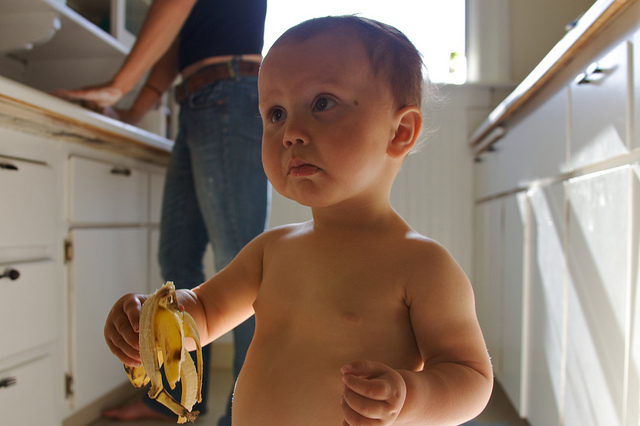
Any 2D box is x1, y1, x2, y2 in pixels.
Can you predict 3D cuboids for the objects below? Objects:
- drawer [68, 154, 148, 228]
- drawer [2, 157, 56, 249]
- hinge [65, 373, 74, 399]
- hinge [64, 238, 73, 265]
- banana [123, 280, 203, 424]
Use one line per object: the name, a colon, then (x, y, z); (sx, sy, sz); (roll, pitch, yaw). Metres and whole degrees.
drawer: (-0.837, -0.065, 2.210); (0.076, 0.276, 0.444); (1, -5, 13)
drawer: (-0.988, -0.036, 1.851); (0.038, 0.247, 0.282); (1, 5, 21)
hinge: (-0.913, 0.621, 1.999); (0.016, 0.067, 0.068); (-3, -2, -8)
hinge: (-0.919, 0.140, 2.012); (0.031, 0.091, 0.008); (4, -3, -34)
banana: (-0.346, 0.319, 1.276); (0.145, 0.313, 0.106); (3, -3, -15)
